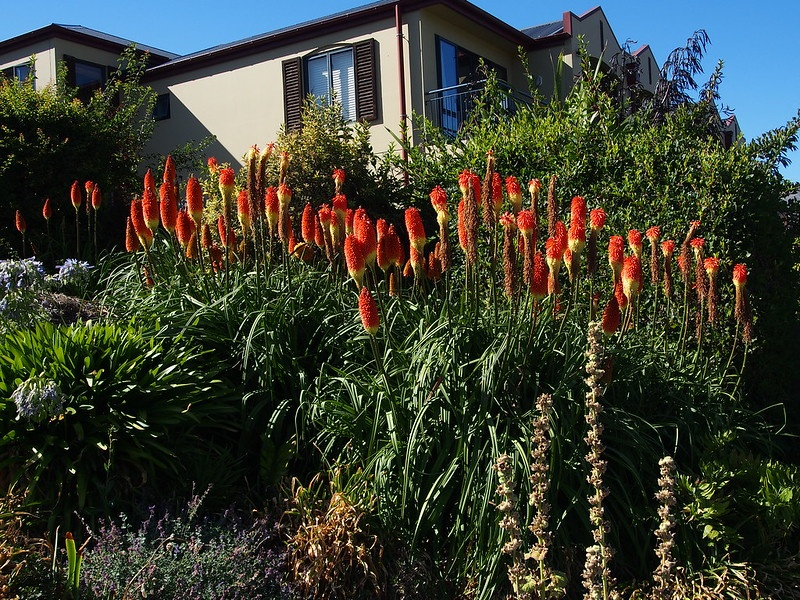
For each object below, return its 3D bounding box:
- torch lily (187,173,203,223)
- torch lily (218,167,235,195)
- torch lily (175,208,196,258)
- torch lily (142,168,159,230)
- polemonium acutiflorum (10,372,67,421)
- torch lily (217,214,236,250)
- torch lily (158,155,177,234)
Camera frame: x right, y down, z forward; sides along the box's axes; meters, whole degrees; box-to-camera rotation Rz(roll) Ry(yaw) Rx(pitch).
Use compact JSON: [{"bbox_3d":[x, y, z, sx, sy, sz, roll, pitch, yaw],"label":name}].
[{"bbox_3d":[-1.528,-0.724,4.966,0.101,0.369,0.348,1,-5,-19],"label":"torch lily"},{"bbox_3d":[-1.278,-0.877,4.900,0.094,0.230,0.234,1,-5,-18],"label":"torch lily"},{"bbox_3d":[-1.659,-0.500,5.059,0.129,0.496,0.153,-4,0,8],"label":"torch lily"},{"bbox_3d":[-1.860,-0.736,4.958,0.109,0.480,0.328,1,-5,-22],"label":"torch lily"},{"bbox_3d":[-2.083,0.562,3.831,0.160,0.161,0.170,-35,-34,-20],"label":"polemonium acutiflorum"},{"bbox_3d":[-1.357,-0.541,5.232,0.137,0.328,0.597,0,-5,-15],"label":"torch lily"},{"bbox_3d":[-1.714,-0.810,4.958,0.112,0.630,0.438,1,-5,-20],"label":"torch lily"}]
